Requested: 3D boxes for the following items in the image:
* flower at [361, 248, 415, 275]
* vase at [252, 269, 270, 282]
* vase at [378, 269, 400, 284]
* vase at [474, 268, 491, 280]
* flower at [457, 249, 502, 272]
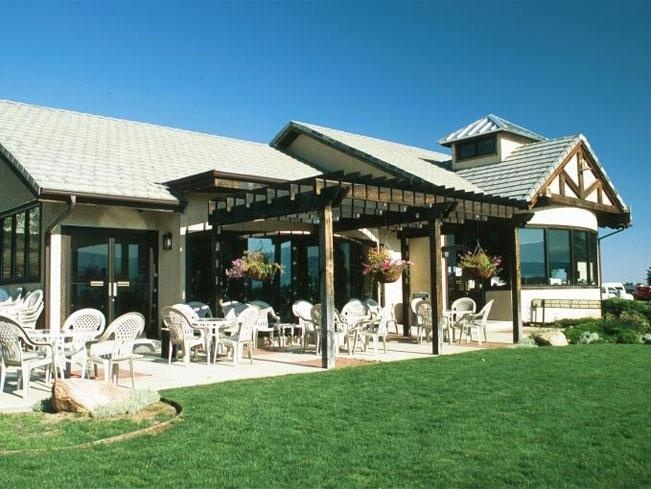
[{"bbox_3d":[1.303,0.424,13.926,0.889,0.582,0.691,1,1,-35],"label":"flower"},{"bbox_3d":[-1.397,0.667,13.397,0.255,0.160,0.277,-3,-3,30],"label":"vase"},{"bbox_3d":[1.451,0.735,13.792,0.309,0.208,0.316,4,-5,-26],"label":"vase"},{"bbox_3d":[3.647,0.697,14.242,0.325,0.152,0.301,6,-8,-31],"label":"vase"},{"bbox_3d":[3.524,0.428,14.396,1.015,0.639,1.067,-1,-4,22],"label":"flower"}]
